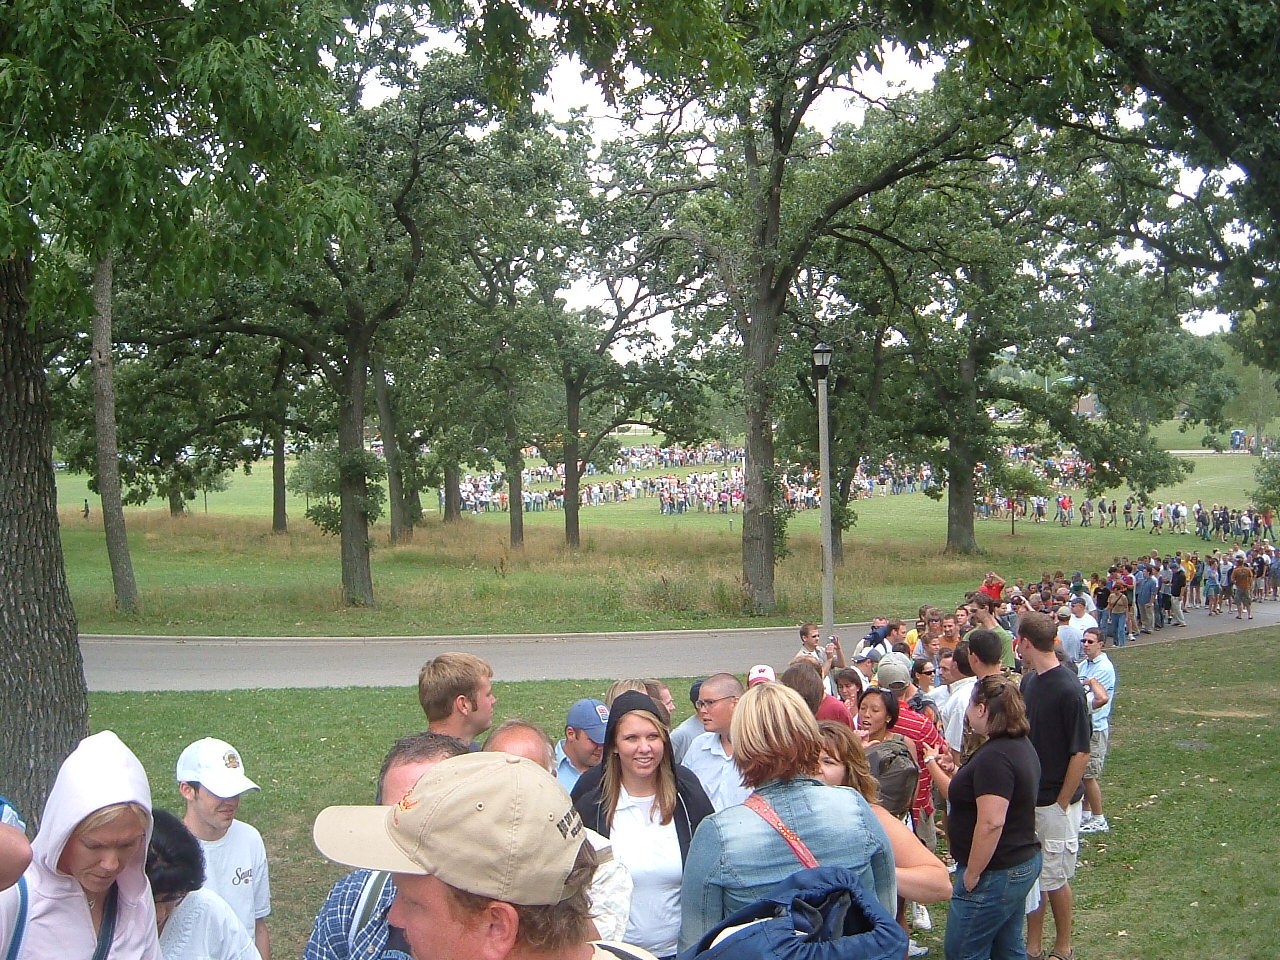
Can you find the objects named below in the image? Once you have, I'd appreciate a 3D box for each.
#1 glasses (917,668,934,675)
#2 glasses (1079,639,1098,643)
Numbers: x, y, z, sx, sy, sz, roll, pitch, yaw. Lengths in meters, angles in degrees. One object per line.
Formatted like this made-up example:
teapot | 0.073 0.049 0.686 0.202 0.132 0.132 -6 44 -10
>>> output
glasses | 4.117 2.745 27.116 0.108 0.129 0.285 -3 -5 41
glasses | 6.557 2.365 27.478 0.188 0.091 0.084 -2 -4 25
